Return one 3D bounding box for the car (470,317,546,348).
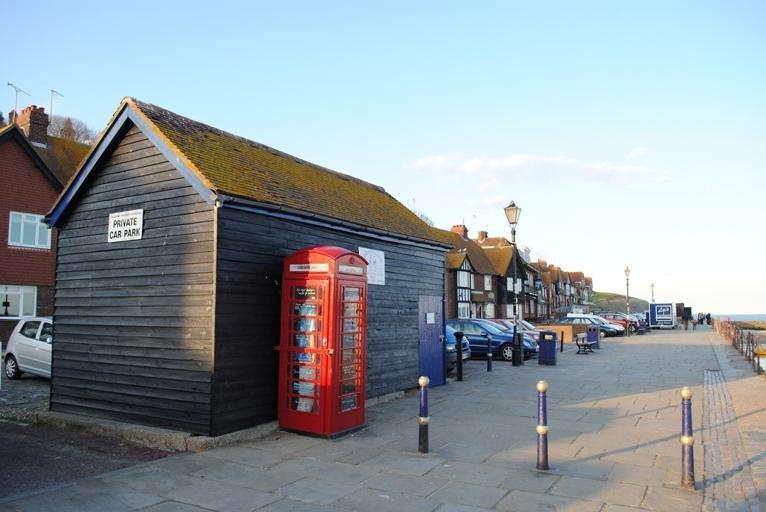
[{"bbox_3d":[5.344,3.145,29.547,3.389,0.789,1.306,0,-3,-29],"label":"car"}]

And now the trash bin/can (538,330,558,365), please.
[{"bbox_3d":[5.824,3.267,25.104,0.586,1.159,0.489,3,10,3],"label":"trash bin/can"}]
